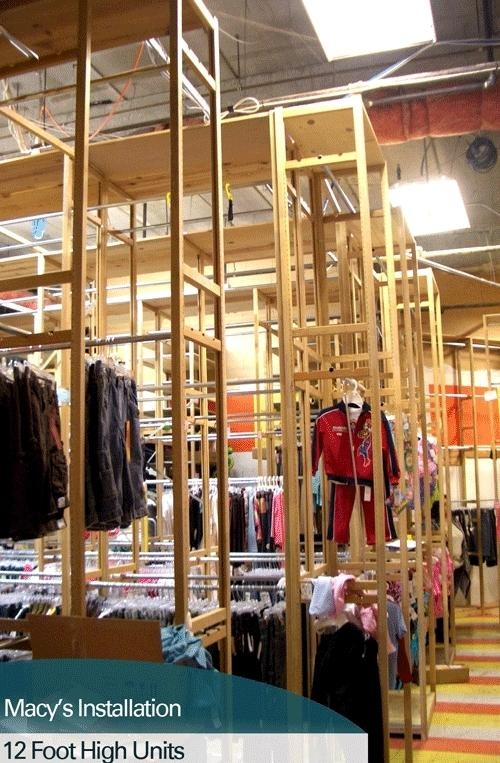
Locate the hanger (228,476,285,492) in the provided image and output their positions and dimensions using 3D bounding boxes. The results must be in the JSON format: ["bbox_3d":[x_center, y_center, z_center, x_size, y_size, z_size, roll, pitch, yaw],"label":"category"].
[{"bbox_3d":[0.172,1.164,6.904,0.793,0.233,0.604,-1,-7,6],"label":"hanger"}]

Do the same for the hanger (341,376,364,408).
[{"bbox_3d":[0.602,0.066,3.548,0.103,0.194,0.146,-3,34,7],"label":"hanger"}]
